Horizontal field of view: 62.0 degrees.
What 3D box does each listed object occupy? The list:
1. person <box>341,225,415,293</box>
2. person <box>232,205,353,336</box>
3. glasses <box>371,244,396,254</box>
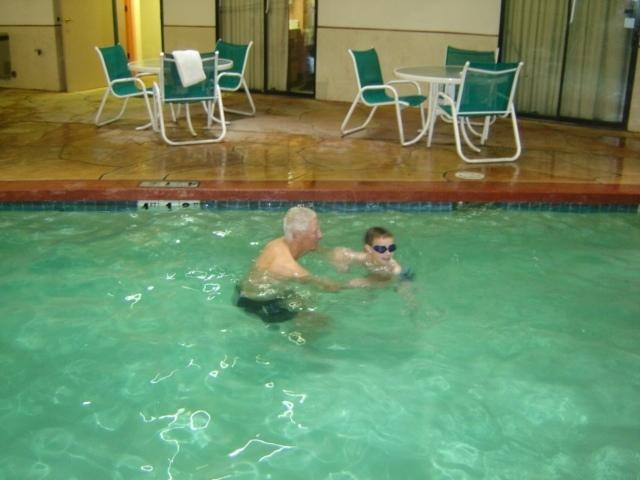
[{"bbox_3d":[0.439,0.107,4.037,0.551,0.383,0.802,-2,13,-13],"label":"person"},{"bbox_3d":[-0.267,0.160,3.733,0.750,0.741,0.543,6,22,15],"label":"person"},{"bbox_3d":[0.448,0.064,3.773,0.161,0.085,0.063,-1,21,-3],"label":"glasses"}]
